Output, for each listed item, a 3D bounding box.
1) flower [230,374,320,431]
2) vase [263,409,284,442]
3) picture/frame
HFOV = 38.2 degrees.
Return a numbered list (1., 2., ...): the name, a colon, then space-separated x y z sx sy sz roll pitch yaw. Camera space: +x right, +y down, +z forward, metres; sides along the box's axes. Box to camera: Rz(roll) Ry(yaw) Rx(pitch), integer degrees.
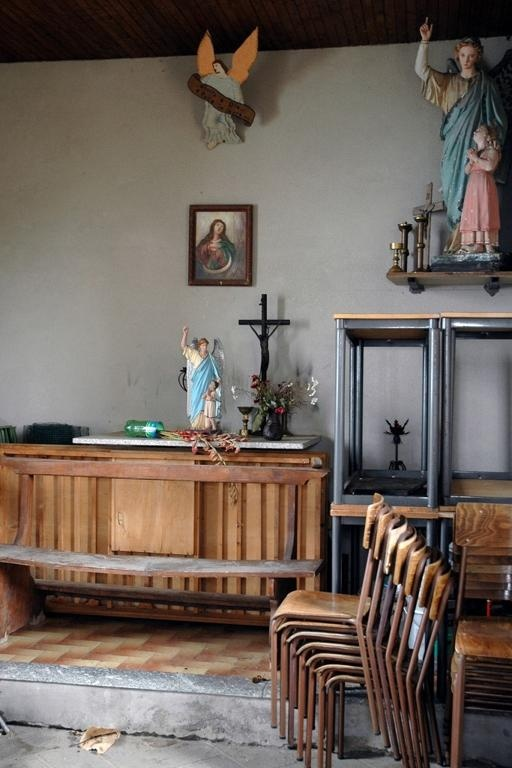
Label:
1. flower: 0.100 0.122 4.317 0.535 0.338 0.598 0 9 3
2. vase: 0.089 0.222 4.038 0.098 0.160 0.135 -1 9 -3
3. picture/frame: -0.204 -0.860 4.600 0.546 0.629 0.049 0 -4 7
